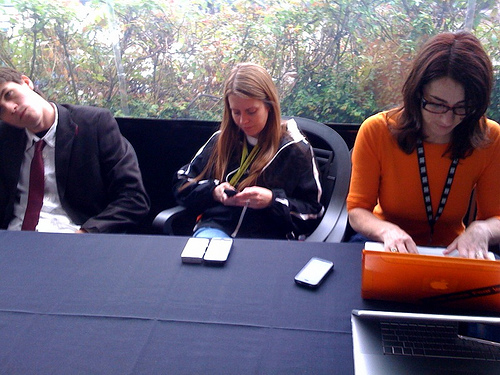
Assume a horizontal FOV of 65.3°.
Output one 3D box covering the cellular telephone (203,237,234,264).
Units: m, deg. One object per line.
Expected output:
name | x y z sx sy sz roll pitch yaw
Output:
cellular telephone | -0.104 0.203 1.264 0.101 0.017 0.170 4 25 6

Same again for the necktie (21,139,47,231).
necktie | -0.980 -0.008 1.812 0.110 0.397 0.068 4 -2 2

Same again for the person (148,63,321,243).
person | -0.062 -0.173 1.761 0.746 0.752 0.421 -1 13 -14

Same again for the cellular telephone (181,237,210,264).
cellular telephone | -0.183 0.215 1.264 0.080 0.018 0.083 7 16 13

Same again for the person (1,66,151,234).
person | -0.824 -0.163 1.827 0.672 0.743 0.365 5 13 12

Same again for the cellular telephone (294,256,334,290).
cellular telephone | 0.190 0.249 1.162 0.064 0.106 0.109 27 47 27
